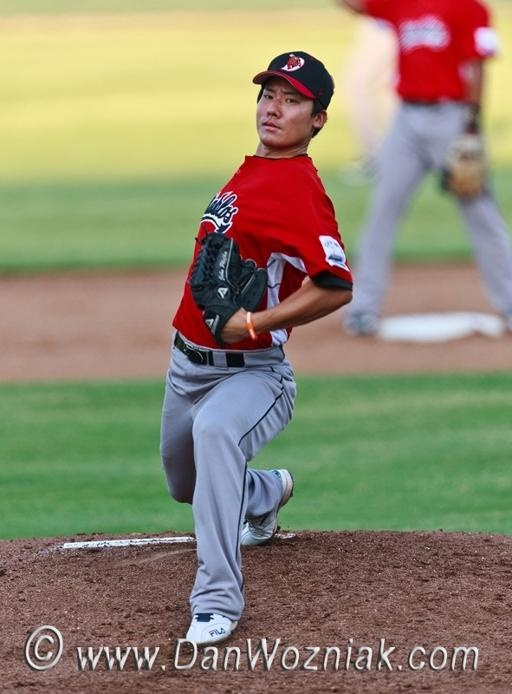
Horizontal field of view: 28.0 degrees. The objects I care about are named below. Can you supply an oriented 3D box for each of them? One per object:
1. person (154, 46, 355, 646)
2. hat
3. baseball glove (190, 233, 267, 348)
[{"bbox_3d":[-0.016,-0.083,3.550,0.652,1.936,1.039,0,8,-3],"label":"person"},{"bbox_3d":[0.141,-0.981,3.714,0.282,0.159,0.338,22,4,7],"label":"hat"},{"bbox_3d":[-0.107,-0.194,3.417,0.165,0.366,0.231,-6,10,-39],"label":"baseball glove"}]
